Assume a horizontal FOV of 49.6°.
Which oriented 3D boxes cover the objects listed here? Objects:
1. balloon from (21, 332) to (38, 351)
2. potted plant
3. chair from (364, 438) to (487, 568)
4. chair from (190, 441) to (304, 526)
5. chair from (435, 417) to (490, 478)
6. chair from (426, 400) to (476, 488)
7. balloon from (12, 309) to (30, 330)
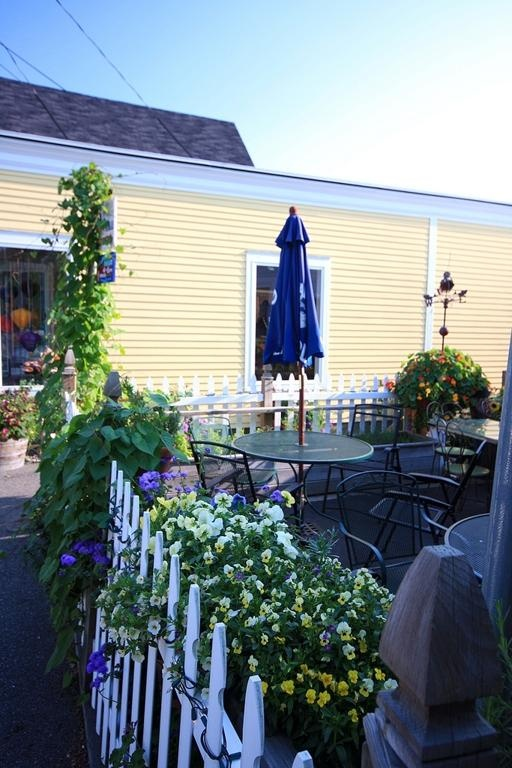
[{"bbox_3d":[-3.102,-0.618,7.692,0.218,0.285,0.236,1,1,3],"label":"balloon"},{"bbox_3d":[-0.496,0.705,2.437,0.852,1.225,0.543,-22,-39,34],"label":"potted plant"},{"bbox_3d":[1.058,0.782,3.536,0.588,0.871,0.573,7,8,22],"label":"chair"},{"bbox_3d":[-0.264,0.714,4.207,0.400,0.640,0.360,-12,3,-12],"label":"chair"},{"bbox_3d":[1.873,0.614,5.275,0.305,0.617,0.363,2,8,38],"label":"chair"},{"bbox_3d":[1.888,0.636,5.420,0.333,0.653,0.397,12,12,38],"label":"chair"},{"bbox_3d":[-3.217,-0.927,7.681,0.247,0.317,0.249,-4,5,-37],"label":"balloon"}]
